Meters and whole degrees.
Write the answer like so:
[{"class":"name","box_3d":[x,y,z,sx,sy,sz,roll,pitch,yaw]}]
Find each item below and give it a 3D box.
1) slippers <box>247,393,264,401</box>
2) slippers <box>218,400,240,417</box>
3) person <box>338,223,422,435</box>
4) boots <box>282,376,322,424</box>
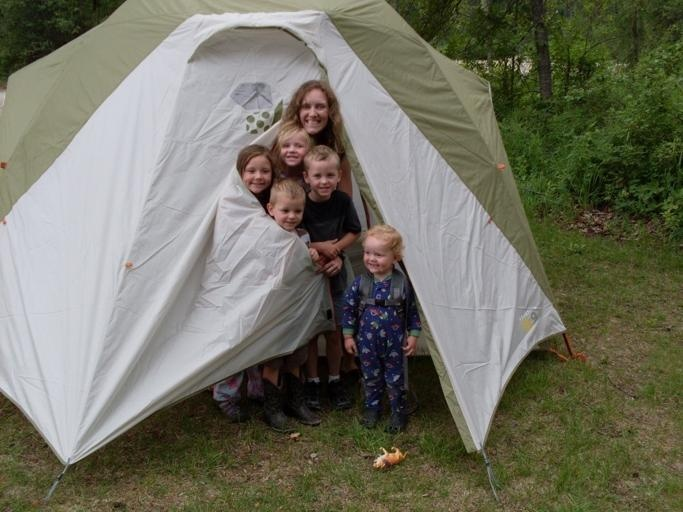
[{"class":"slippers","box_3d":[-0.739,1.237,5.585,0.077,0.067,0.121,-5,-14,11]},{"class":"slippers","box_3d":[-0.927,1.281,5.403,0.153,0.064,0.136,23,63,27]},{"class":"person","box_3d":[0.324,0.594,5.258,0.626,1.653,0.441,1,18,1]},{"class":"boots","box_3d":[-0.370,1.239,5.538,0.175,0.403,0.501,-3,4,-36]}]
